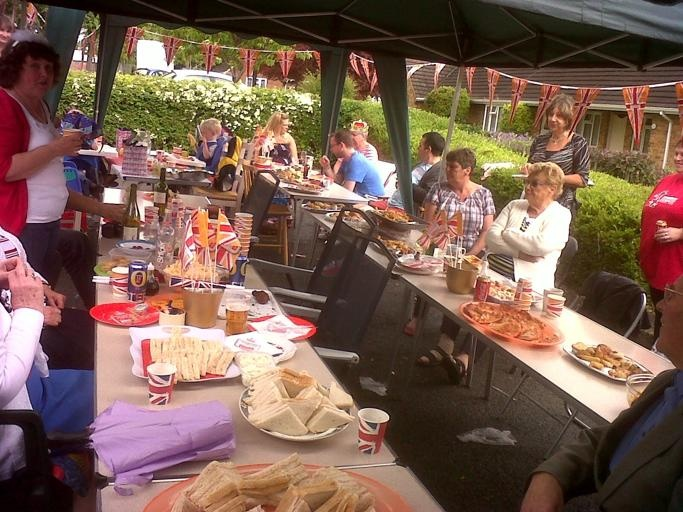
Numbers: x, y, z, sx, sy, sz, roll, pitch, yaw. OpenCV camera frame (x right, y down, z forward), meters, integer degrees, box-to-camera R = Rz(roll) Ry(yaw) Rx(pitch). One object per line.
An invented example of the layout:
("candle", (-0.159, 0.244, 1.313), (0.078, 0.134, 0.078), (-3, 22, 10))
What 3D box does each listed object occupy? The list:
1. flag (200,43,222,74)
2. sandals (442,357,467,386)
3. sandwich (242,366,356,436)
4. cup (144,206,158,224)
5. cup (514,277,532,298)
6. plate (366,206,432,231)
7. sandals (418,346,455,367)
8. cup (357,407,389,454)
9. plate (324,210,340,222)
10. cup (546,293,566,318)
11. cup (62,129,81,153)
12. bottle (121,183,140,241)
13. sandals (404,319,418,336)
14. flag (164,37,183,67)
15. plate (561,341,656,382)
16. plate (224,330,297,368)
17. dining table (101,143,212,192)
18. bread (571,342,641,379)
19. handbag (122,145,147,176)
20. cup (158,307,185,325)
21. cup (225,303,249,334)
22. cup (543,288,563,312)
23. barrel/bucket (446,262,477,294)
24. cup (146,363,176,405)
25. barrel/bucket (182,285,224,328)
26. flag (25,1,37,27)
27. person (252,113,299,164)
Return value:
("flag", (-3.305, -4.996, 11.899), (0.358, 0.843, 2.141), (3, 14, -16))
("sandals", (1.017, 0.989, 4.251), (0.127, 0.302, 0.138), (-16, 7, -21))
("sandwich", (-0.151, 0.499, 1.586), (0.239, 0.082, 0.237), (6, 16, -4))
("cup", (-1.250, -0.271, 3.145), (0.106, 0.105, 0.105), (3, 10, 0))
("cup", (1.121, 0.190, 2.922), (0.098, 0.172, 0.101), (-2, 6, 0))
("plate", (0.548, -0.358, 4.599), (0.403, 0.099, 0.596), (1, 14, -16))
("sandals", (0.904, 0.927, 4.339), (0.374, 0.154, 0.146), (1, 9, -9))
("cup", (0.102, 0.560, 1.549), (0.112, 0.150, 0.081), (4, 14, -12))
("plate", (-0.105, -0.406, 4.889), (0.227, 0.099, 0.254), (0, 9, 0))
("cup", (1.330, 0.314, 3.021), (0.128, 0.126, 0.127), (1, 11, 0))
("cup", (-1.788, -0.767, 3.196), (0.144, 0.113, 0.148), (3, 5, 0))
("bottle", (-1.395, -0.297, 3.150), (0.100, 0.375, 0.383), (1, 15, -24))
("sandals", (0.747, 0.747, 5.069), (0.121, 0.081, 0.212), (15, 53, 22))
("flag", (-3.968, -4.817, 11.069), (0.337, 0.774, 1.943), (2, 15, -20))
("plate", (1.311, 0.525, 2.375), (0.186, 0.035, 0.249), (-5, 17, -21))
("plate", (-0.343, 0.397, 2.050), (0.189, 0.039, 0.150), (9, 13, 3))
("dining table", (-2.356, -1.111, 6.032), (1.163, 0.265, 0.818), (16, 26, 8))
("bread", (1.334, 0.526, 2.369), (0.156, 0.031, 0.221), (0, 13, -9))
("handbag", (-2.395, -1.094, 5.583), (0.314, 0.379, 0.392), (-1, 11, -11))
("cup", (-0.752, 0.269, 2.091), (0.083, 0.055, 0.083), (2, 5, 0))
("cup", (-0.476, 0.288, 2.227), (0.121, 0.127, 0.127), (2, 5, 0))
("cup", (1.373, 0.287, 3.060), (0.124, 0.133, 0.124), (-1, 5, 0))
("barrel/bucket", (0.812, 0.148, 3.188), (0.184, 0.143, 0.201), (2, 5, 0))
("cup", (-0.610, 0.435, 1.668), (0.124, 0.126, 0.126), (4, 6, 0))
("barrel/bucket", (-0.629, 0.233, 2.205), (0.176, 0.152, 0.182), (2, 0, 0))
("flag", (-6.934, -5.420, 10.602), (0.156, 0.582, 1.620), (-1, 16, -31))
("person", (-1.183, -2.189, 8.744), (0.778, 0.927, 1.073), (5, 14, -8))
